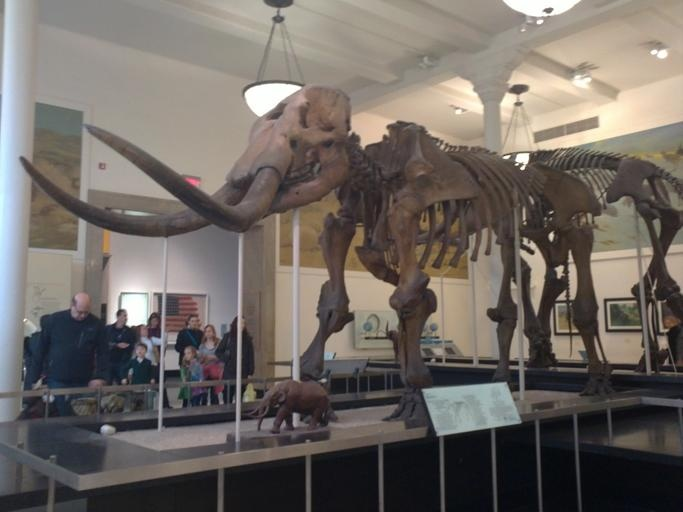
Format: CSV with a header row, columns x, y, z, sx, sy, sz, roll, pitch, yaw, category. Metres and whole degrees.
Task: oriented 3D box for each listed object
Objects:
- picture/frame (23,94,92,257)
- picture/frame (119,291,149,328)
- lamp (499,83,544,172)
x,y,z,sx,sy,sz,roll,pitch,yaw,category
-4.448,-1.245,8.903,0.692,2.325,0.219,3,-8,-29,picture/frame
-4.279,1.047,11.704,0.552,0.028,0.809,8,33,-26,picture/frame
3.741,-2.760,11.951,0.753,1.532,0.795,3,19,27,lamp
